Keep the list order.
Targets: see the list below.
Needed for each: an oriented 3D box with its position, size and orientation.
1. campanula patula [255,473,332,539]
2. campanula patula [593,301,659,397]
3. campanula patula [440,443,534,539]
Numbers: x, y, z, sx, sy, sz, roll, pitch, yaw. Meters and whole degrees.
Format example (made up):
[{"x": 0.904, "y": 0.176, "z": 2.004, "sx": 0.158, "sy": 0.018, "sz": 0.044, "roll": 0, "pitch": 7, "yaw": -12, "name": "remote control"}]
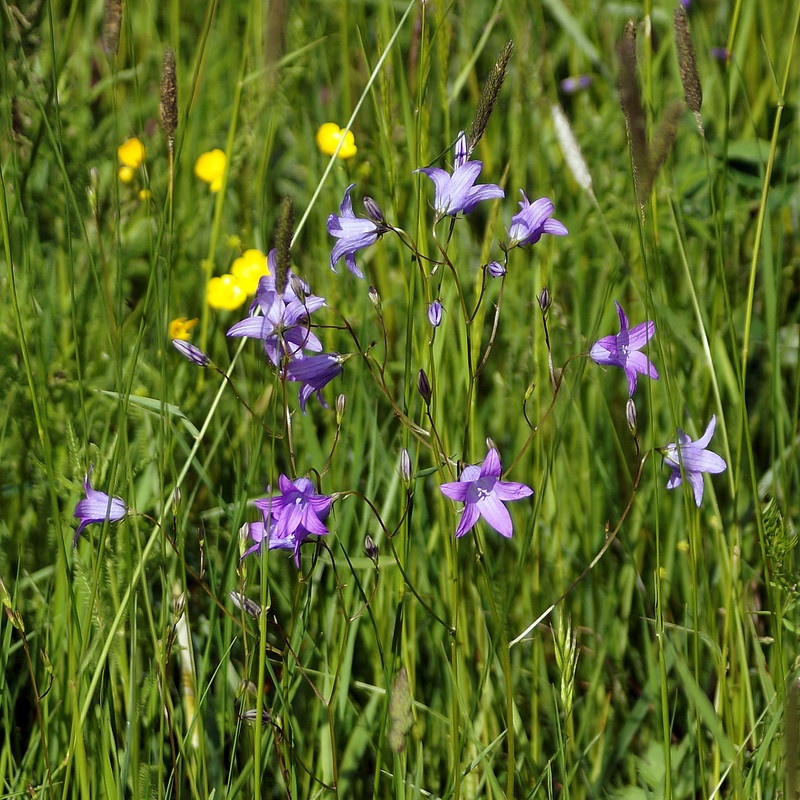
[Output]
[{"x": -0.187, "y": 0.180, "z": 2.215, "sx": 0.117, "sy": 0.125, "sz": 0.081, "roll": 3, "pitch": 39, "yaw": 15, "name": "campanula patula"}, {"x": 0.458, "y": -0.061, "z": 2.407, "sx": 0.049, "sy": 0.227, "sz": 0.125, "roll": -6, "pitch": -7, "yaw": 37, "name": "campanula patula"}, {"x": 0.170, "y": 0.183, "z": 2.188, "sx": 0.138, "sy": 0.086, "sz": 0.153, "roll": -8, "pitch": 48, "yaw": 8, "name": "campanula patula"}]
